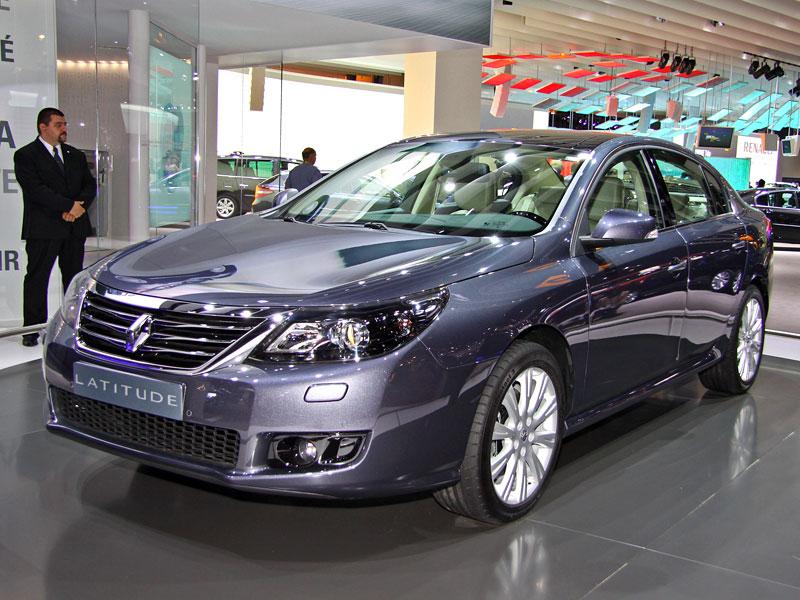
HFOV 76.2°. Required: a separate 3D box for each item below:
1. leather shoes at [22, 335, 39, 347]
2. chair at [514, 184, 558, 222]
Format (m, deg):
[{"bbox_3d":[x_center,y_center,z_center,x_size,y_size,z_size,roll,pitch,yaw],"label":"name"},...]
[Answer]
[{"bbox_3d":[-3.319,0.369,4.618,0.112,0.117,0.120,-6,-20,-7],"label":"leather shoes"},{"bbox_3d":[0.636,-0.435,2.412,0.200,0.131,0.135,-2,-6,-5],"label":"chair"}]
